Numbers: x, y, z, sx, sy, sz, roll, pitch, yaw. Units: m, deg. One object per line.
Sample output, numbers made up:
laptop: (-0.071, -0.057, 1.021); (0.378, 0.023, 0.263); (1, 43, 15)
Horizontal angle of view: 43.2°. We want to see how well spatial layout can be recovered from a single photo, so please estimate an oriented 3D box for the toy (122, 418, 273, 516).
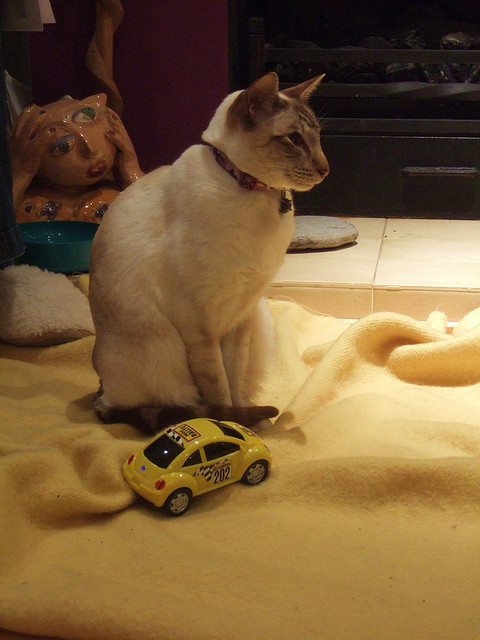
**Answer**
toy: (-0.062, 0.204, 0.920); (0.139, 0.083, 0.225); (20, 23, 38)
